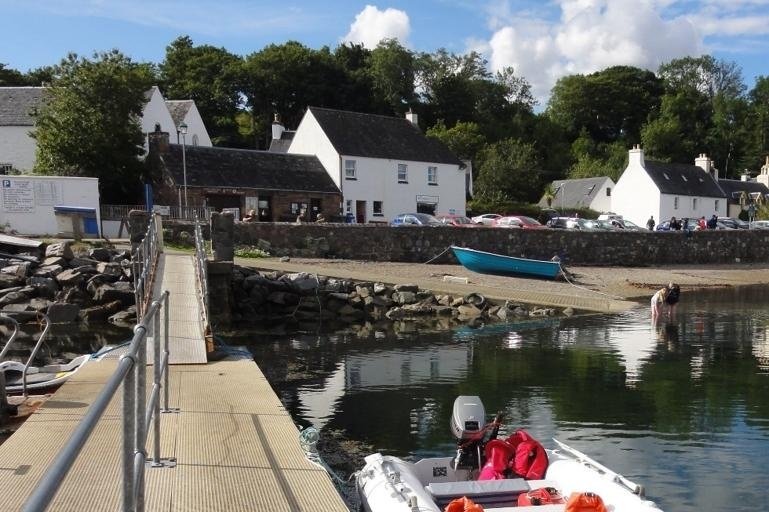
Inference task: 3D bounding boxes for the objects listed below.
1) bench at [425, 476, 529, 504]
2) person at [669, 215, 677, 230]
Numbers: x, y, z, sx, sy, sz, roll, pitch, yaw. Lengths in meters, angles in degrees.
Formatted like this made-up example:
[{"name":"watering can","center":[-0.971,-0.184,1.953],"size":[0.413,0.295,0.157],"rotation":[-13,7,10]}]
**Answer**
[{"name":"bench","center":[2.721,6.676,27.365],"size":[2.799,0.652,0.457],"rotation":[1,0,-1]},{"name":"person","center":[19.559,-2.213,64.836],"size":[0.445,0.876,3.117],"rotation":[1,0,17]}]
